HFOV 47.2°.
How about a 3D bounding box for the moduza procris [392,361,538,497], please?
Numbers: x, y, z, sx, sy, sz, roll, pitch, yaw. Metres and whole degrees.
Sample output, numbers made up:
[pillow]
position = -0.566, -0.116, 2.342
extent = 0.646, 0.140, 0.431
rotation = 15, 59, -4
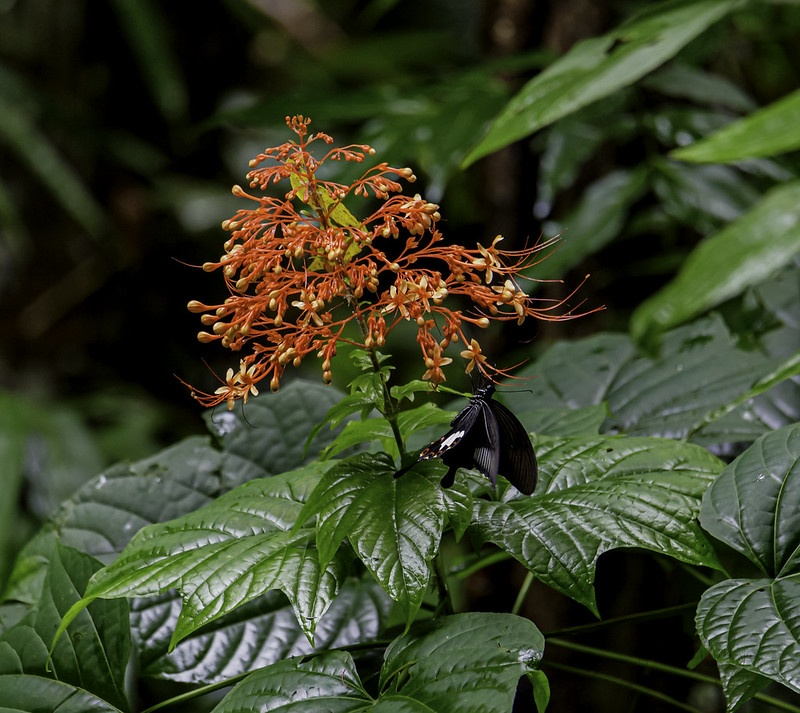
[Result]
[moduza procris]
position = 0.132, 0.170, 1.732
extent = 0.284, 0.261, 0.188
rotation = -31, -11, -12

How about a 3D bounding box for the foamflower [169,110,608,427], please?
[foamflower]
position = -0.074, -0.160, 2.081
extent = 0.995, 0.941, 0.563
rotation = -1, 0, -5
